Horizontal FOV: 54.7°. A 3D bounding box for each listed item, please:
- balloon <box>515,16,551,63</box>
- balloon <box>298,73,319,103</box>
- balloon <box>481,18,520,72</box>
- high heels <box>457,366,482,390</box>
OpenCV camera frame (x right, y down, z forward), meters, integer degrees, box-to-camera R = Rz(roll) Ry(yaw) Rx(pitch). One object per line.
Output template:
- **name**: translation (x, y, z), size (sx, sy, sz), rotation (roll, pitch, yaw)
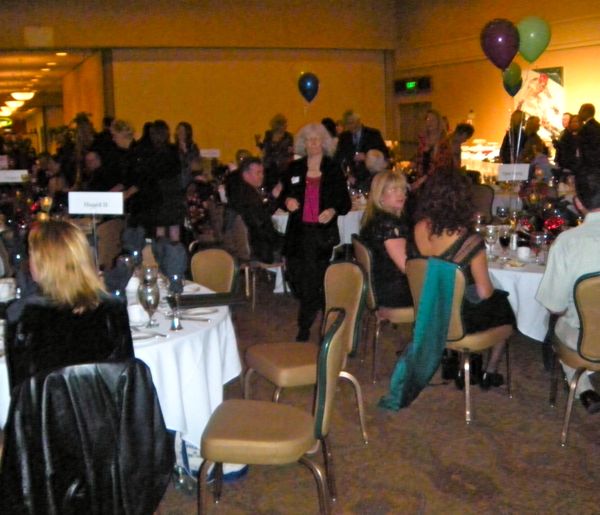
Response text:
- **balloon**: translation (2.892, -2.723, 7.234), size (0.354, 0.515, 0.319), rotation (5, 13, 28)
- **balloon**: translation (0.124, -2.546, 8.725), size (0.267, 0.421, 0.414), rotation (0, 12, 5)
- **balloon**: translation (2.266, -2.398, 6.523), size (0.437, 0.557, 0.305), rotation (-2, 12, -4)
- **high heels**: translation (1.068, 0.760, 3.652), size (0.184, 0.186, 0.106), rotation (-1, 5, -2)
